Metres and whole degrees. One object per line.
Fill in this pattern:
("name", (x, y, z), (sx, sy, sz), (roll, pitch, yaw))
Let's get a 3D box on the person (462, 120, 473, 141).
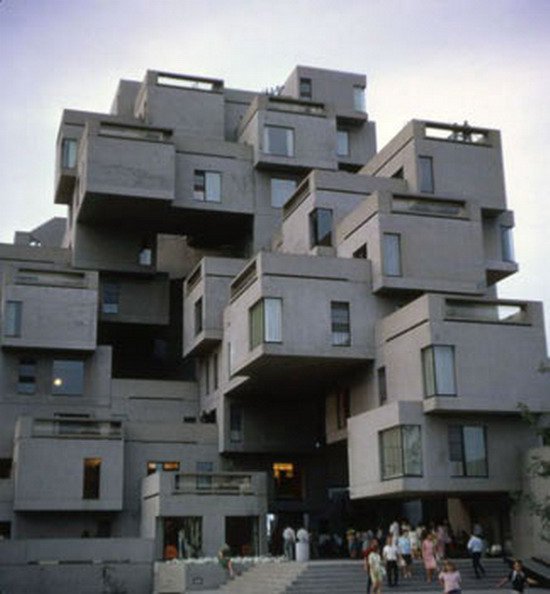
("person", (10.973, -9.526, 44.021), (0.438, 1.493, 0.608), (-11, -17, 36))
